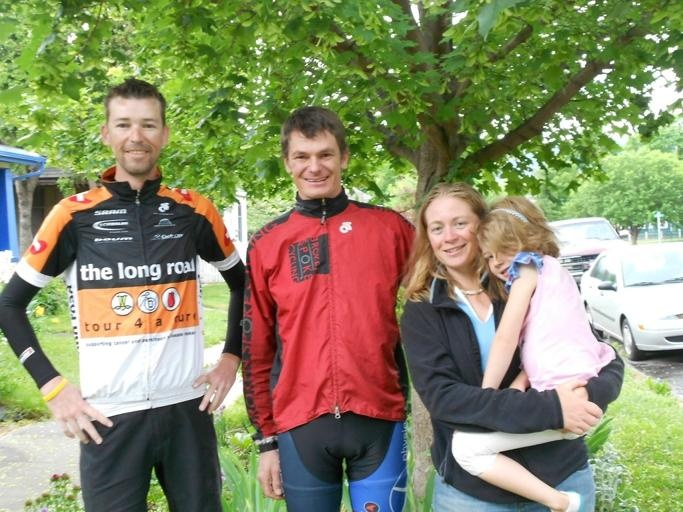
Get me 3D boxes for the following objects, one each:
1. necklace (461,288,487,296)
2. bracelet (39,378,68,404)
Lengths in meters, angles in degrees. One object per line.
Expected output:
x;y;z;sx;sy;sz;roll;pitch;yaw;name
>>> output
0.663;0.180;2.789;0.074;0.025;0.056;4;-1;-43;necklace
-1.438;0.673;2.785;0.110;0.027;0.115;-35;5;12;bracelet
